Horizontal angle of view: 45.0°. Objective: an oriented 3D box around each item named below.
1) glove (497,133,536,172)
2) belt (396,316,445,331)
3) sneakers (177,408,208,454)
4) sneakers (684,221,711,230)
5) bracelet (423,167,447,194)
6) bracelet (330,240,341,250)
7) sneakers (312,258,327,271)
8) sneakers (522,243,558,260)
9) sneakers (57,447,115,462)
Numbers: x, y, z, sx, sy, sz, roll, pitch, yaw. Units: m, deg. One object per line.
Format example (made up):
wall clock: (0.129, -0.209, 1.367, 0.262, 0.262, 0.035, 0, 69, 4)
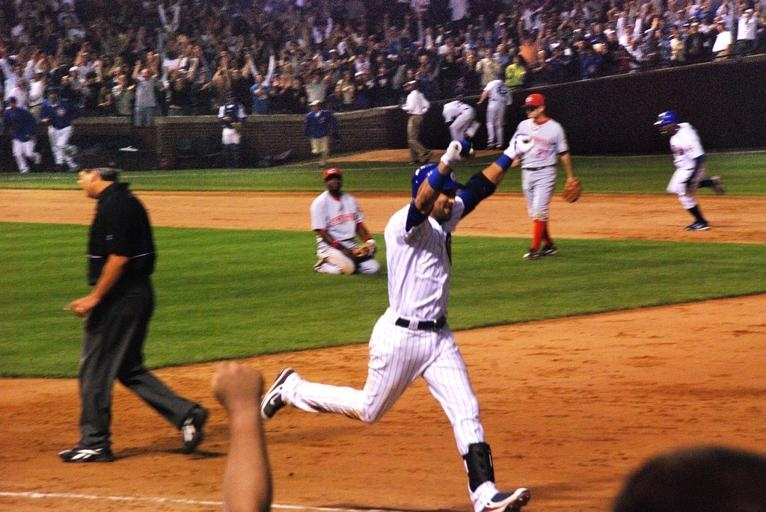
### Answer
glove: (1.330, -1.053, 9.366, 0.302, 0.437, 0.150, 34, 22, 4)
belt: (0.391, 0.645, 8.748, 0.510, 0.140, 0.119, -3, 12, -17)
sneakers: (-1.950, 1.815, 9.587, 0.330, 0.514, 0.198, -4, 42, -7)
sneakers: (5.959, -0.551, 17.493, 0.465, 0.112, 0.152, 2, 6, 10)
bracelet: (0.492, -0.699, 8.634, 0.250, 0.170, 0.258, -23, 3, 5)
bracelet: (-0.750, -0.169, 14.762, 0.150, 0.155, 0.128, 17, 39, -60)
sneakers: (-1.039, 0.140, 15.146, 0.284, 0.082, 0.177, -34, 32, 12)
sneakers: (2.698, -0.072, 15.618, 0.798, 0.217, 0.205, -6, 29, -18)
sneakers: (-2.995, 2.041, 9.463, 0.627, 0.165, 0.143, 1, 42, -4)
